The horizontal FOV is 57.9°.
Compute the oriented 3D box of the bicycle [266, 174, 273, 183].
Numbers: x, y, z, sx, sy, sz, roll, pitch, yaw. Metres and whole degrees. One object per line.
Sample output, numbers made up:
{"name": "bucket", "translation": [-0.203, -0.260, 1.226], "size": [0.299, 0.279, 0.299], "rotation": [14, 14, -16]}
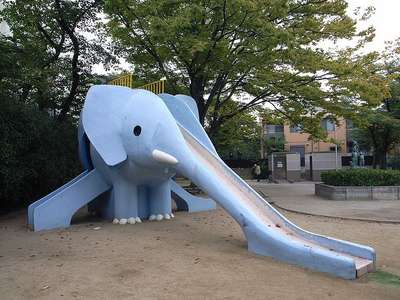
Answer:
{"name": "bicycle", "translation": [6.468, 2.631, 33.612], "size": [0.383, 0.768, 0.824], "rotation": [-6, 8, -39]}

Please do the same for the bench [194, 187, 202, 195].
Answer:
{"name": "bench", "translation": [-0.152, 2.281, 20.178], "size": [0.453, 0.298, 0.662], "rotation": [8, -12, -29]}

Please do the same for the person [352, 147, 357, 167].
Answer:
{"name": "person", "translation": [8.562, 0.427, 20.085], "size": [0.251, 1.032, 0.656], "rotation": [3, 7, 22]}
